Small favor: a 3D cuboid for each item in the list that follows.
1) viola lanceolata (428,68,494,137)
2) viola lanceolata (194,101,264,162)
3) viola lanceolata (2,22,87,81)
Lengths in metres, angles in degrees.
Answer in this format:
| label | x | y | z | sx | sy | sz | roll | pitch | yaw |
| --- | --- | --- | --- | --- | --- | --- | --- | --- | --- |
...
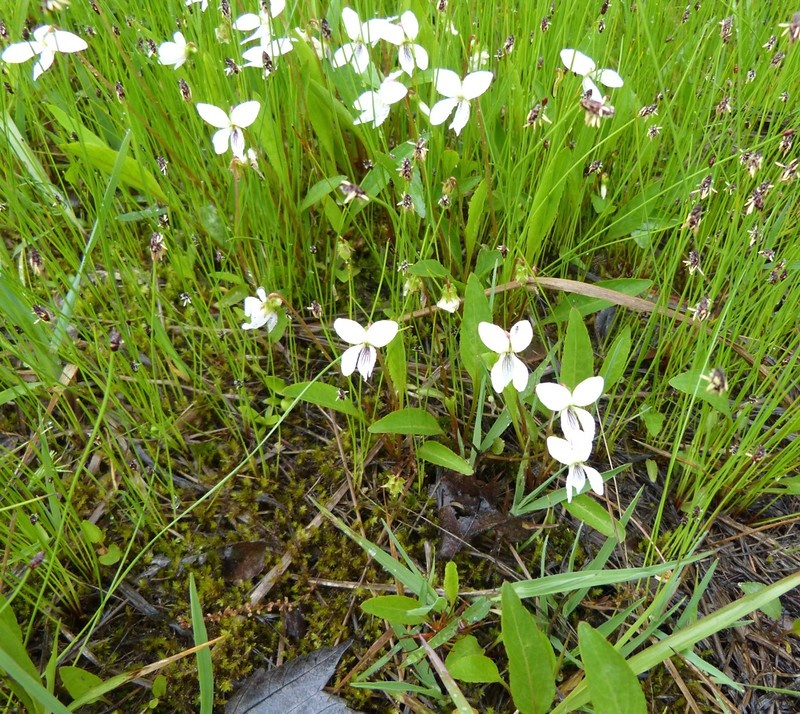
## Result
| label | x | y | z | sx | sy | sz | roll | pitch | yaw |
| --- | --- | --- | --- | --- | --- | --- | --- | --- | --- |
| viola lanceolata | 0.200 | -0.810 | 2.244 | 0.183 | 0.083 | 0.278 | 16 | 93 | 27 |
| viola lanceolata | -0.562 | -0.763 | 2.180 | 0.176 | 0.085 | 0.262 | 4 | 95 | 16 |
| viola lanceolata | -1.187 | -1.021 | 2.232 | 0.219 | 0.069 | 0.257 | 21 | 69 | 16 |
